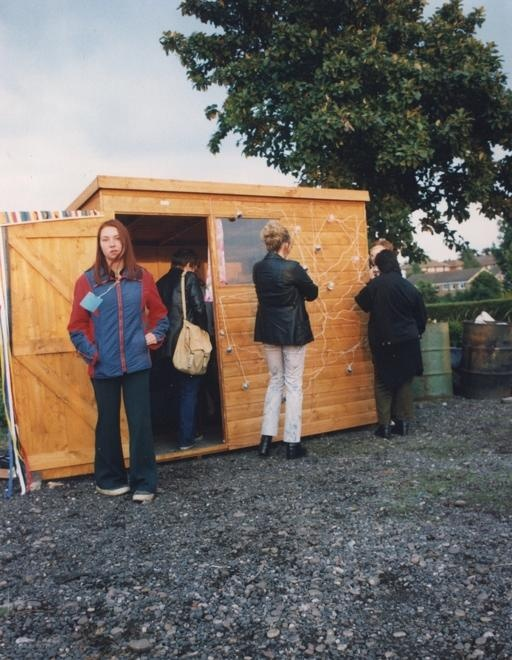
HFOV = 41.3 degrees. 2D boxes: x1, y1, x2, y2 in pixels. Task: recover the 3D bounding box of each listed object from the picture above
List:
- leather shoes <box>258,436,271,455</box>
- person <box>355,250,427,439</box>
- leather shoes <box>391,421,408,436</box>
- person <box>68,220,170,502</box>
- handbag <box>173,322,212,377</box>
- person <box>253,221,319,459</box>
[{"bbox_3d":[0.079,0.996,5.834,0.086,0.181,0.179,1,34,7],"label":"leather shoes"},{"bbox_3d":[1.266,0.250,6.333,0.577,1.549,0.412,0,10,26],"label":"person"},{"bbox_3d":[1.395,0.934,6.589,0.160,0.145,0.163,-1,-1,3],"label":"leather shoes"},{"bbox_3d":[-0.957,0.219,4.818,0.678,1.984,0.422,-4,9,-4],"label":"person"},{"bbox_3d":[-0.557,0.149,5.819,0.268,0.432,0.376,-18,-27,37],"label":"handbag"},{"bbox_3d":[0.256,0.090,5.740,0.546,2.005,0.370,-1,9,17],"label":"person"}]
